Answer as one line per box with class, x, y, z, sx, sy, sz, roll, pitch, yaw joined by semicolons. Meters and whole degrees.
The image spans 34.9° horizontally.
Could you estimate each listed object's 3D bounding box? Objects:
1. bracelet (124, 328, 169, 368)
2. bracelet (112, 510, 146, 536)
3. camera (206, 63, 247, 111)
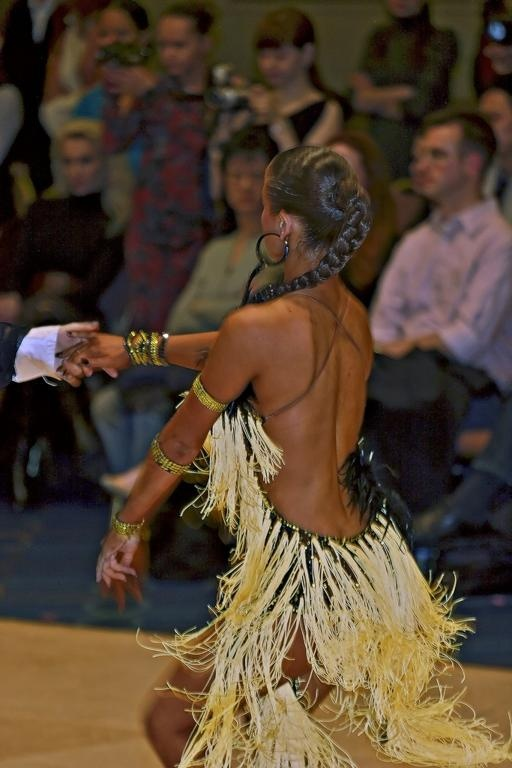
bracelet;-0.248;-0.084;1.854;0.088;0.039;0.100;-7;13;-30
bracelet;-0.260;0.264;1.579;0.050;0.022;0.052;3;9;2
camera;-0.112;-0.901;2.547;0.147;0.126;0.061;1;-20;-40
